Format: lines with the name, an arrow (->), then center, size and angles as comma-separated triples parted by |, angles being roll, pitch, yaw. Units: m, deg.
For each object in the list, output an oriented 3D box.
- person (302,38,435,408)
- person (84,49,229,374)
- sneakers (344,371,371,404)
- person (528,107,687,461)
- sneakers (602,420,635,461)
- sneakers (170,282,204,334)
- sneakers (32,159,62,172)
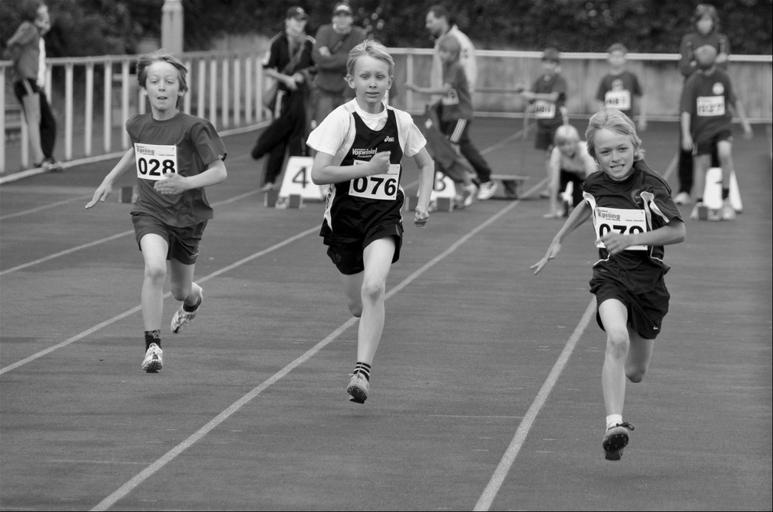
person -> -0.127, -0.272, 8.087 | 0.874, 2.505, 1.118 | 2, 9, 2
person -> -1.588, -0.352, 8.622 | 0.718, 2.349, 1.249 | 0, 9, -12
sneakers -> -0.202, 0.912, 7.792 | 0.120, 0.121, 0.276 | 11, -14, 3
person -> 1.534, 0.139, 7.352 | 0.768, 2.134, 1.283 | 2, 9, 2
sneakers -> 1.395, 1.143, 6.956 | 0.140, 0.336, 0.164 | 9, 54, 0
sneakers -> -1.650, 0.441, 9.446 | 0.168, 0.427, 0.193 | 34, 18, 2
sneakers -> -5.123, -1.373, 17.261 | 0.391, 0.145, 0.134 | 1, 13, 24
